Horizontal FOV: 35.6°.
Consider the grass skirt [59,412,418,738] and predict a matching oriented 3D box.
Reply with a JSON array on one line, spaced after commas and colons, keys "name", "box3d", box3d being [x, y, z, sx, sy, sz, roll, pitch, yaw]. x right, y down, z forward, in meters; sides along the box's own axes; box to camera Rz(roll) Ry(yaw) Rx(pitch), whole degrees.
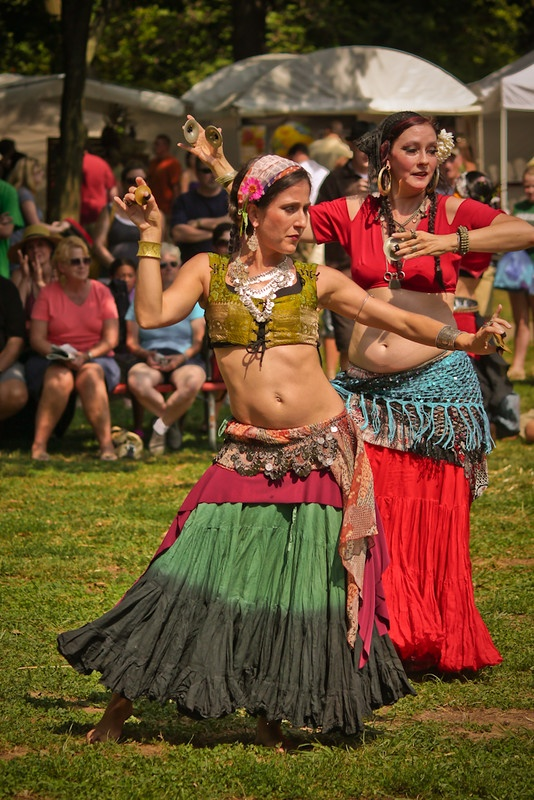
[{"name": "grass skirt", "box3d": [-0.136, 0.508, 2.828, 1.364, 1.048, 0.743, 9, -8, -24]}]

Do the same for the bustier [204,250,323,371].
[{"name": "bustier", "box3d": [-0.016, -0.326, 2.713, 0.387, 0.279, 0.198, 1, 4, -7]}]

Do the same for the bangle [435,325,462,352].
[{"name": "bangle", "box3d": [0.601, -0.208, 2.831, 0.088, 0.097, 0.092, 18, 6, 6]}]

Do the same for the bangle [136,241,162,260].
[{"name": "bangle", "box3d": [-0.365, -0.456, 2.547, 0.066, 0.041, 0.062, -1, -3, 28]}]

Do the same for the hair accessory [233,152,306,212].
[{"name": "hair accessory", "box3d": [0.008, -0.691, 2.630, 0.193, 0.164, 0.115, -3, 12, -14]}]
